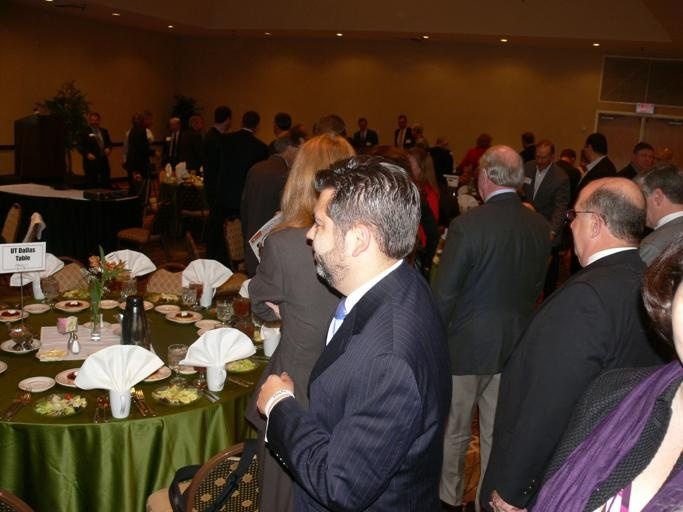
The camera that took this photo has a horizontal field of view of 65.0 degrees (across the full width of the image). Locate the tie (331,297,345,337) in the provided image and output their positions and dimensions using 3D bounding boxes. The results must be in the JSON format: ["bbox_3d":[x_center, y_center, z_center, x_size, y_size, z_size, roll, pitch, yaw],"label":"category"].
[{"bbox_3d":[-0.010,0.179,1.571,0.028,0.098,0.073,9,-9,-4],"label":"tie"}]

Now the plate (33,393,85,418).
[{"bbox_3d":[-1.185,0.618,2.269,0.190,0.066,0.167,5,5,-1],"label":"plate"}]

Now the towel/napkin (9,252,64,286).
[{"bbox_3d":[-1.970,0.118,3.409,0.269,0.121,0.283,-4,23,2],"label":"towel/napkin"}]

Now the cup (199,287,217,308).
[{"bbox_3d":[-0.826,0.251,3.299,0.096,0.171,0.111,0,10,-14],"label":"cup"}]

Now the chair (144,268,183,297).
[{"bbox_3d":[-1.277,0.190,3.861,0.190,0.322,0.210,1,-4,-7],"label":"chair"}]

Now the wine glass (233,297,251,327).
[{"bbox_3d":[-0.564,0.317,3.029,0.142,0.158,0.144,0,-9,-5],"label":"wine glass"}]

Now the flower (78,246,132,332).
[{"bbox_3d":[-1.273,0.203,2.822,0.220,0.449,0.253,-3,-10,37],"label":"flower"}]

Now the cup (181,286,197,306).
[{"bbox_3d":[-0.936,0.230,3.277,0.101,0.130,0.107,-1,7,0],"label":"cup"}]

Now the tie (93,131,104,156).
[{"bbox_3d":[-4.388,-2.047,9.695,0.126,0.422,0.210,3,-19,-36],"label":"tie"}]

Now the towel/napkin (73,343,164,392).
[{"bbox_3d":[-0.921,0.461,2.132,0.319,0.191,0.118,-7,-12,-5],"label":"towel/napkin"}]

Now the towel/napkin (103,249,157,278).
[{"bbox_3d":[-1.417,0.048,3.549,0.271,0.231,0.052,12,6,-10],"label":"towel/napkin"}]

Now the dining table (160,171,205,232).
[{"bbox_3d":[-2.383,-0.780,7.813,0.727,0.841,0.785,1,5,7],"label":"dining table"}]

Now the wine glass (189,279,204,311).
[{"bbox_3d":[-0.879,0.236,3.272,0.113,0.208,0.114,0,4,2],"label":"wine glass"}]

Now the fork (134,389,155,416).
[{"bbox_3d":[-0.866,0.637,2.319,0.050,0.027,0.213,-10,24,-18],"label":"fork"}]

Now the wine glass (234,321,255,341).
[{"bbox_3d":[-0.531,0.399,2.923,0.086,0.104,0.075,-6,-26,-2],"label":"wine glass"}]

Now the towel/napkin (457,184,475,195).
[{"bbox_3d":[1.552,-0.818,6.656,0.136,0.127,0.194,-3,8,1],"label":"towel/napkin"}]

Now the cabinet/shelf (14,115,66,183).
[{"bbox_3d":[-4.397,-1.534,7.792,0.559,0.953,0.582,0,5,-2],"label":"cabinet/shelf"}]

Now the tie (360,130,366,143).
[{"bbox_3d":[0.496,-2.745,12.176,0.108,0.177,0.040,1,-2,22],"label":"tie"}]

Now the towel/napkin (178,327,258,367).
[{"bbox_3d":[-0.544,0.398,2.382,0.040,0.170,0.317,7,-10,39],"label":"towel/napkin"}]
